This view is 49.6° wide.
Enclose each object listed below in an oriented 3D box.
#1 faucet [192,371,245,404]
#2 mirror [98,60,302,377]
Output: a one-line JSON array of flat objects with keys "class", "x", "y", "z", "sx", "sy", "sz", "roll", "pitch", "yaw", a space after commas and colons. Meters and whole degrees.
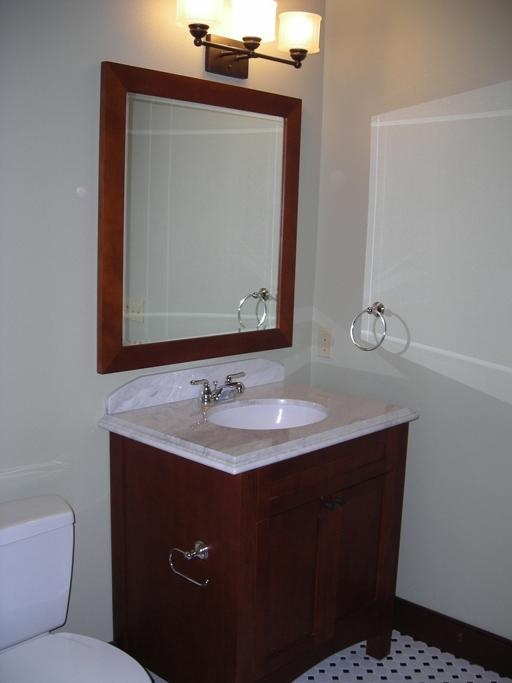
[{"class": "faucet", "x": -0.114, "y": 0.148, "z": 1.805, "sx": 0.066, "sy": 0.083, "sz": 0.192, "roll": 4, "pitch": 8, "yaw": 40}, {"class": "mirror", "x": -0.140, "y": -0.360, "z": 1.722, "sx": 0.722, "sy": 0.842, "sz": 0.033, "roll": -8, "pitch": 16, "yaw": -39}]
